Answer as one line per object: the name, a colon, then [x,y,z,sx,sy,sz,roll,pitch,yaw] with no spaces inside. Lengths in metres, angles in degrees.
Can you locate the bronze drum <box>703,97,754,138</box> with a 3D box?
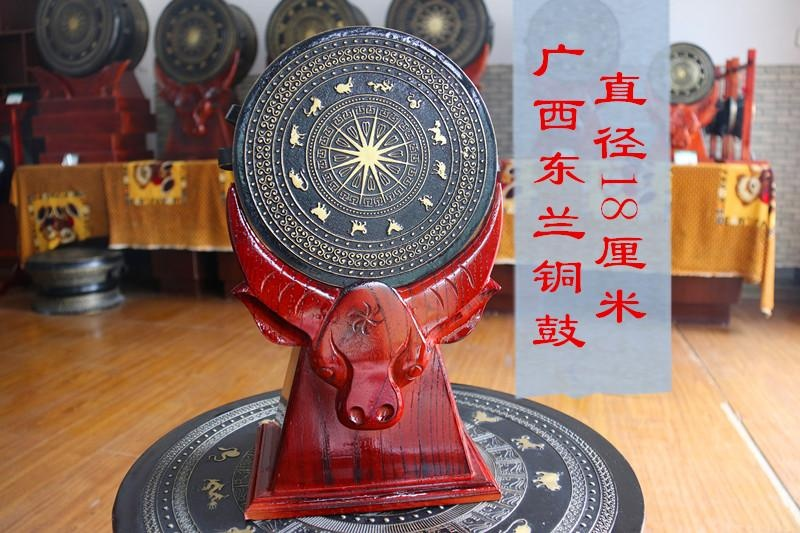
bronze drum: [1.959,-0.886,4.727,0.184,0.249,0.090,-23,-21,21]

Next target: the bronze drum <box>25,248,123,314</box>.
bronze drum: [-1.820,0.099,4.442,0.373,0.259,0.411,2,6,1]
